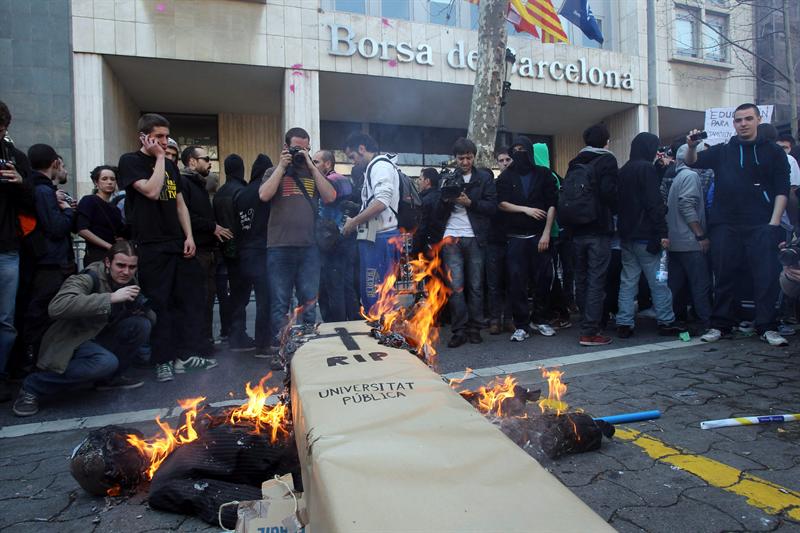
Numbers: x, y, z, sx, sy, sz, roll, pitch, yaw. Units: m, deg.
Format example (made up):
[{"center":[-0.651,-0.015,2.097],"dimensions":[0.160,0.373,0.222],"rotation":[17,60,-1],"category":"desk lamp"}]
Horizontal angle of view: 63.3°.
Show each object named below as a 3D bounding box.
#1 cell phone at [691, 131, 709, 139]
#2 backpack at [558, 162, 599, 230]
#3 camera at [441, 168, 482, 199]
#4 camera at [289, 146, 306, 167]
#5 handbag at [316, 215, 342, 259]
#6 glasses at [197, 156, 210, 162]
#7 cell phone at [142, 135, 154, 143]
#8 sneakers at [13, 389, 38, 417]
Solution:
[{"center":[4.205,-1.807,9.029],"dimensions":[0.175,0.044,0.183],"rotation":[-9,9,-20],"category":"cell phone"},{"center":[2.550,-1.029,9.241],"dimensions":[0.474,0.862,0.495],"rotation":[-7,6,-41],"category":"backpack"},{"center":[0.845,-1.142,8.980],"dimensions":[0.508,0.428,0.542],"rotation":[-1,5,7],"category":"camera"},{"center":[-1.293,-1.375,8.164],"dimensions":[0.222,0.221,0.218],"rotation":[-2,15,-25],"category":"camera"},{"center":[-0.948,-0.418,8.748],"dimensions":[0.302,0.498,0.498],"rotation":[-2,5,-3],"category":"handbag"},{"center":[-2.685,-1.469,8.947],"dimensions":[0.069,0.073,0.223],"rotation":[-1,5,7],"category":"glasses"},{"center":[-3.033,-1.513,7.777],"dimensions":[0.194,0.116,0.050],"rotation":[1,6,28],"category":"cell phone"},{"center":[-4.083,1.468,7.085],"dimensions":[0.242,0.257,0.227],"rotation":[-5,6,-32],"category":"sneakers"}]
